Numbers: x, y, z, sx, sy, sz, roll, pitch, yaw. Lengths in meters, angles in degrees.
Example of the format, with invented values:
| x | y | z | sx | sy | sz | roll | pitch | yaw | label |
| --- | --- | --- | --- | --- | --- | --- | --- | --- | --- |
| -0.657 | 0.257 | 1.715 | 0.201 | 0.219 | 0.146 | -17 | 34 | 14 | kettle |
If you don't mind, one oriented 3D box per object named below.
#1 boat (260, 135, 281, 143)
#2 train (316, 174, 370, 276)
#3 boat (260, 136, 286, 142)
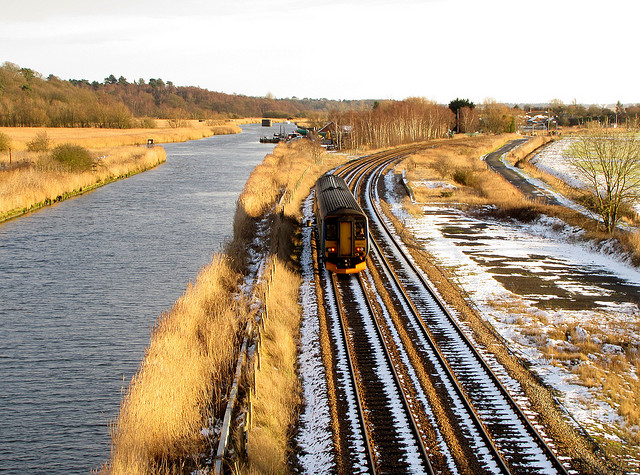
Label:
| x | y | z | sx | sy | sz | roll | pitch | yaw | label |
| --- | --- | --- | --- | --- | --- | --- | --- | --- | --- |
| -10.312 | -20.496 | 133.953 | 3.747 | 0.749 | 7.333 | -1 | 20 | -1 | boat |
| 1.192 | -0.669 | 36.632 | 2.365 | 3.693 | 5.680 | -2 | 19 | -3 | train |
| -9.820 | -20.396 | 133.627 | 4.802 | 0.638 | 3.852 | -16 | 25 | -37 | boat |
